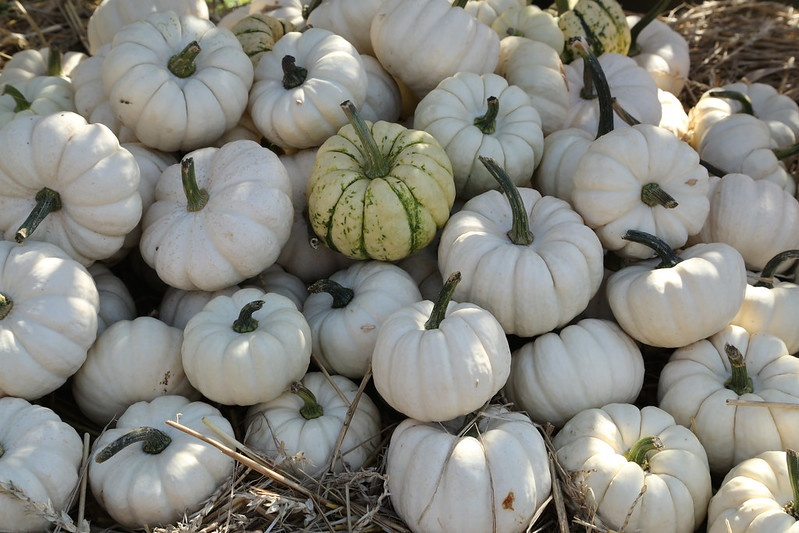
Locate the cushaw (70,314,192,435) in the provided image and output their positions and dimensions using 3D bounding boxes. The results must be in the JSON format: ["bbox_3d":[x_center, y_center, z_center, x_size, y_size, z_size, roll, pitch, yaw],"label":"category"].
[{"bbox_3d":[-1.442,0.555,4.485,0.555,0.546,0.564,4,2,-14],"label":"cushaw"}]

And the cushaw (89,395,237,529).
[{"bbox_3d":[-1.226,0.982,4.333,0.607,0.586,0.633,6,58,41],"label":"cushaw"}]

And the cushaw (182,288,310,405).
[{"bbox_3d":[-0.820,0.418,4.361,0.580,0.453,0.598,-8,30,-4],"label":"cushaw"}]

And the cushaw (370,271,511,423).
[{"bbox_3d":[0.181,0.340,4.490,0.719,0.772,0.736,-11,6,-30],"label":"cushaw"}]

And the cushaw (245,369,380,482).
[{"bbox_3d":[-0.475,0.817,4.453,0.537,0.525,0.557,-22,41,-33],"label":"cushaw"}]

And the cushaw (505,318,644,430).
[{"bbox_3d":[0.940,0.453,4.634,0.585,0.578,0.598,-24,3,6],"label":"cushaw"}]
